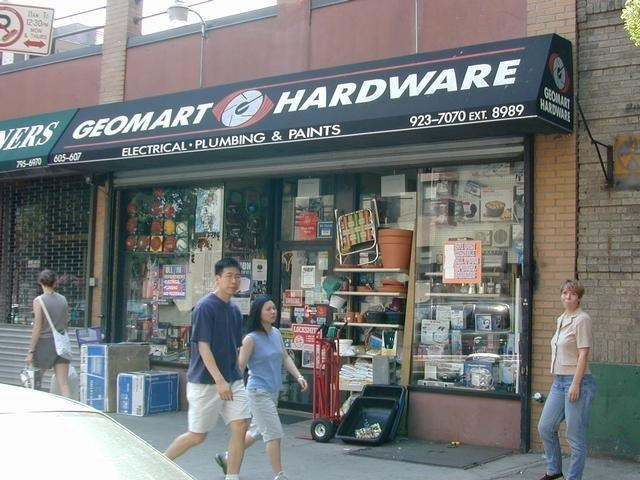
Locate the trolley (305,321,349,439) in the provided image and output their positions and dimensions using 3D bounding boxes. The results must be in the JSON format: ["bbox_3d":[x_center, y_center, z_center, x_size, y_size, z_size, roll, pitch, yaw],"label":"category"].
[{"bbox_3d":[0.101,1.945,9.394,0.438,1.675,0.660,-3,-10,18],"label":"trolley"}]

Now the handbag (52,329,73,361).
[{"bbox_3d":[-3.653,1.489,9.486,0.268,0.424,0.145,4,-7,-34],"label":"handbag"}]

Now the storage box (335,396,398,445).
[{"bbox_3d":[0.622,2.391,8.844,0.761,0.572,0.471,-1,-6,15],"label":"storage box"}]

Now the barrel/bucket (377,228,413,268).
[{"bbox_3d":[1.106,0.126,9.837,0.514,0.530,0.557,3,-2,0],"label":"barrel/bucket"}]

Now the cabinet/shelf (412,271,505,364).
[{"bbox_3d":[1.951,1.182,9.520,1.545,1.397,0.489,1,0,-15],"label":"cabinet/shelf"}]

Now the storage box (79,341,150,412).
[{"bbox_3d":[-3.452,2.311,11.316,0.607,1.044,1.063,-3,-7,24],"label":"storage box"}]

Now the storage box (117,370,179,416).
[{"bbox_3d":[-2.828,2.509,10.977,0.519,0.647,0.927,-2,-9,19],"label":"storage box"}]
